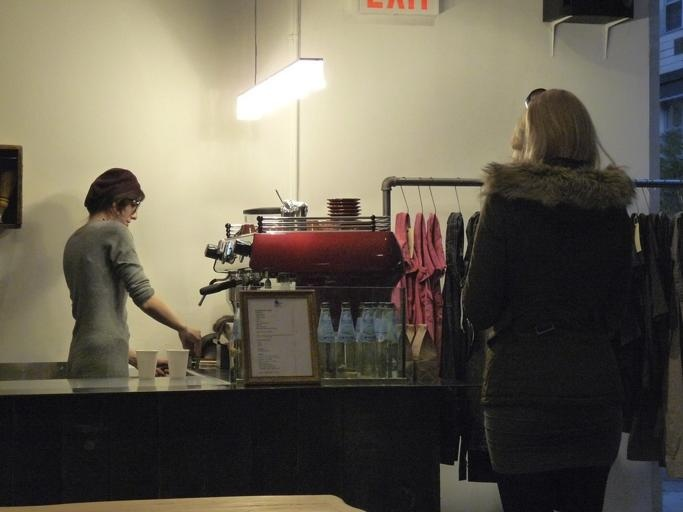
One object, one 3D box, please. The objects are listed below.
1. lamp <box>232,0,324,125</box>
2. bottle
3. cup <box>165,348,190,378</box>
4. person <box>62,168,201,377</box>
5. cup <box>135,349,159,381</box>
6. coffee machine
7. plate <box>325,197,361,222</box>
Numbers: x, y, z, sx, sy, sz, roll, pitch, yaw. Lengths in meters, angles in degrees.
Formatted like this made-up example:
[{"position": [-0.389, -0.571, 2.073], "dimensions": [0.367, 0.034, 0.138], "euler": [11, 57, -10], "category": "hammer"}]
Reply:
[{"position": [-0.367, -0.989, 5.032], "dimensions": [0.174, 0.255, 0.721], "euler": [-1, 0, -36], "category": "lamp"}, {"position": [0.094, 0.388, 3.861], "dimensions": [0.376, 0.343, 0.153], "euler": [-1, 0, 2], "category": "bottle"}, {"position": [-0.733, 0.505, 3.890], "dimensions": [0.106, 0.125, 0.110], "euler": [2, -6, 0], "category": "cup"}, {"position": [-1.190, 0.109, 4.595], "dimensions": [0.598, 1.035, 1.118], "euler": [-1, 0, -19], "category": "person"}, {"position": [-0.863, 0.504, 3.839], "dimensions": [0.104, 0.140, 0.110], "euler": [0, 0, 0], "category": "cup"}, {"position": [-0.141, 0.128, 4.264], "dimensions": [0.759, 0.599, 0.546], "euler": [0, -5, 1], "category": "coffee machine"}, {"position": [0.011, -0.231, 4.215], "dimensions": [0.121, 0.084, 0.128], "euler": [0, 1, 7], "category": "plate"}]
